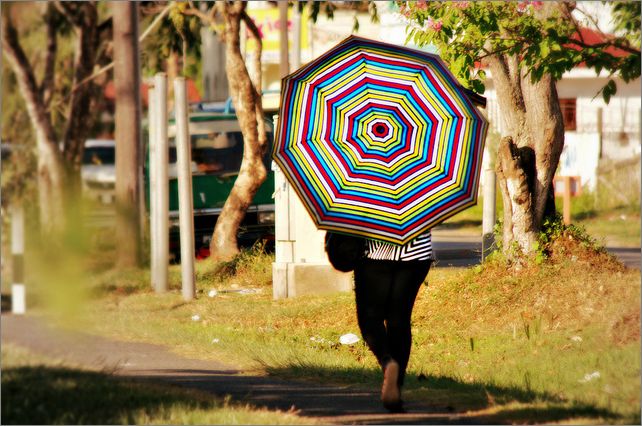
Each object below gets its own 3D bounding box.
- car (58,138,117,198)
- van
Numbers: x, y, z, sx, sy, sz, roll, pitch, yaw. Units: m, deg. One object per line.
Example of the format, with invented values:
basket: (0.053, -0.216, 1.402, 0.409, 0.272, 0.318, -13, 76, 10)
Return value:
car: (-6.108, -1.325, 41.447, 1.203, 1.372, 2.459, 0, -5, -4)
van: (-2.363, -0.650, 33.858, 2.026, 2.521, 3.694, -1, -1, -6)
